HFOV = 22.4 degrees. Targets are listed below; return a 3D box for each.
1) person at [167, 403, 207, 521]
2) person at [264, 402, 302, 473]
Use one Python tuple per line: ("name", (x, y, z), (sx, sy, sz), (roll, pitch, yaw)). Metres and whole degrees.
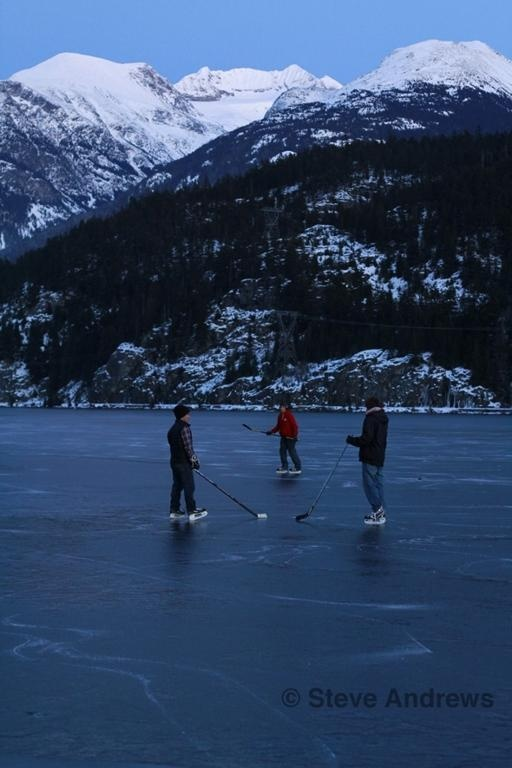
("person", (-1.184, 1.313, 21.003), (0.616, 2.014, 0.540), (5, 5, 40))
("person", (0.880, 1.500, 33.065), (0.993, 2.051, 0.785), (0, 0, -8))
